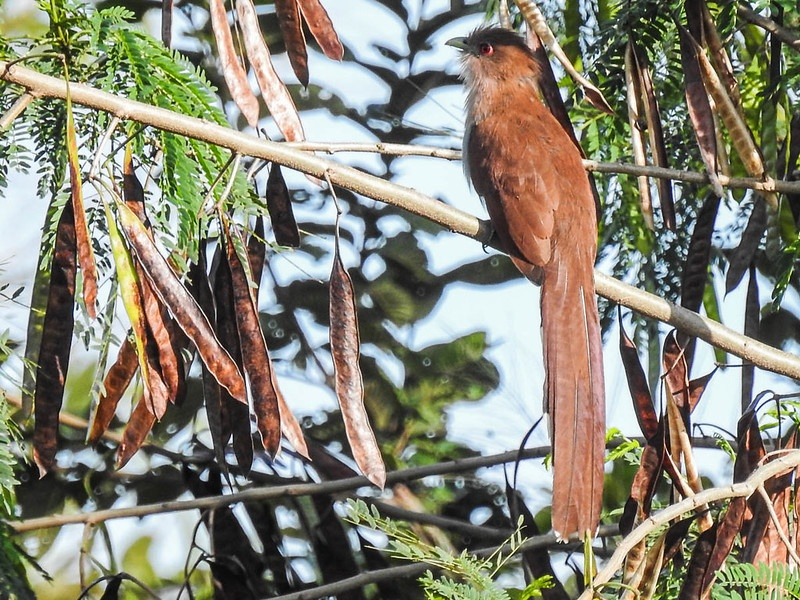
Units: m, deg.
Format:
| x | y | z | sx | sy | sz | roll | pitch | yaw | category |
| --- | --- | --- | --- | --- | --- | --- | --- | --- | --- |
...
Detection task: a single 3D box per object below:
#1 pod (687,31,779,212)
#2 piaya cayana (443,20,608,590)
| x | y | z | sx | sy | sz | roll | pitch | yaw | category |
| --- | --- | --- | --- | --- | --- | --- | --- | --- | --- |
| 1.516 | -0.819 | 6.988 | 0.367 | 0.832 | 0.371 | -5 | 17 | -19 | pod |
| 0.689 | -0.163 | 7.244 | 0.738 | 2.951 | 1.117 | 2 | -12 | -30 | piaya cayana |
